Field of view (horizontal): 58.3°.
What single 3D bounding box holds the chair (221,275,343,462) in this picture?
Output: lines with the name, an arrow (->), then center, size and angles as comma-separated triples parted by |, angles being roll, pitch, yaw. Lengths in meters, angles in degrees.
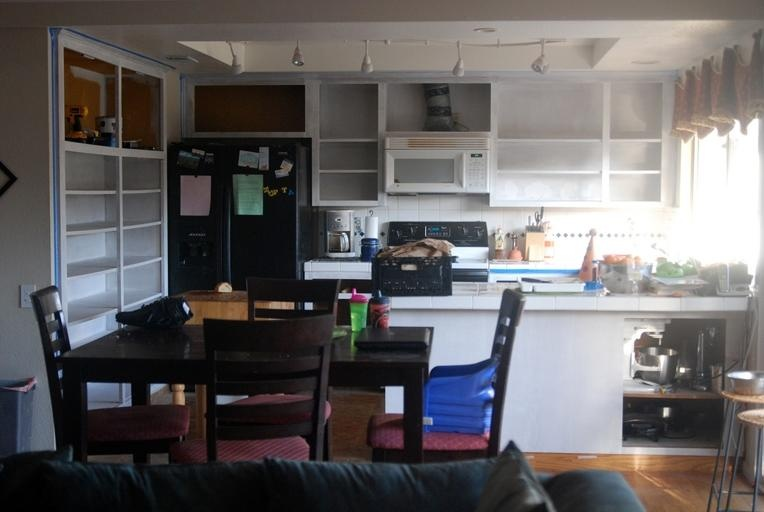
chair -> -0.641, 0.450, 4.678 | 0.565, 0.934, 0.619 | 5, 10, -7

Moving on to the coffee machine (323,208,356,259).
coffee machine -> -0.409, -0.219, 6.756 | 0.304, 0.458, 0.265 | 0, 3, -12

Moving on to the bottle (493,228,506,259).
bottle -> 1.168, -0.122, 6.848 | 0.100, 0.303, 0.161 | 1, 3, 9

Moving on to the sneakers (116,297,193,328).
sneakers -> -1.369, 0.348, 4.218 | 0.465, 0.185, 0.180 | 0, -8, -1

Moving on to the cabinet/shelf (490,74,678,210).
cabinet/shelf -> 2.027, -1.148, 6.711 | 1.364, 0.905, 0.397 | 0, 0, 4

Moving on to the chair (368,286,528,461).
chair -> 0.365, 0.852, 4.051 | 0.862, 1.109, 0.624 | -1, -5, 4

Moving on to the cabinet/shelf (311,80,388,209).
cabinet/shelf -> -0.335, -1.113, 6.844 | 0.684, 1.243, 0.416 | 1, 3, -1

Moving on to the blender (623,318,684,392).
blender -> 1.956, 0.738, 5.043 | 0.463, 0.427, 0.307 | -2, 3, 38

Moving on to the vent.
vent -> 0.564, -1.497, 6.906 | 1.132, 0.571, 0.742 | 1, -4, 3

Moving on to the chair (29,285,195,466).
chair -> -1.578, 0.897, 4.046 | 0.877, 1.188, 0.744 | 9, 4, -21

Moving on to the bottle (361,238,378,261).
bottle -> -0.143, -0.065, 6.586 | 0.211, 0.196, 0.204 | 1, -2, -12

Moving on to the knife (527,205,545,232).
knife -> 1.528, -0.361, 6.822 | 0.161, 0.254, 0.063 | -3, -19, 42

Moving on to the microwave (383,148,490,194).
microwave -> 0.509, -0.819, 6.748 | 0.763, 0.345, 0.473 | 0, -1, 3

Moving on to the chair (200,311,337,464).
chair -> -0.648, 0.815, 3.690 | 0.651, 1.042, 0.704 | 4, -3, -13

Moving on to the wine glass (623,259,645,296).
wine glass -> 1.808, 0.140, 4.891 | 0.117, 0.249, 0.205 | 2, 4, 29

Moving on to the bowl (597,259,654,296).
bowl -> 1.722, 0.149, 4.857 | 0.264, 0.157, 0.280 | 1, 1, 0

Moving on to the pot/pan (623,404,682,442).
pot/pan -> 1.958, 1.212, 4.993 | 0.381, 0.224, 0.306 | 2, 3, 19

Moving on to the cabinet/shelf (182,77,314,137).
cabinet/shelf -> -1.345, -1.482, 6.630 | 1.079, 0.546, 0.498 | 1, 2, 0

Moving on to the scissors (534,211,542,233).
scissors -> 1.549, -0.345, 6.814 | 0.079, 0.201, 0.116 | 1, 3, 8
